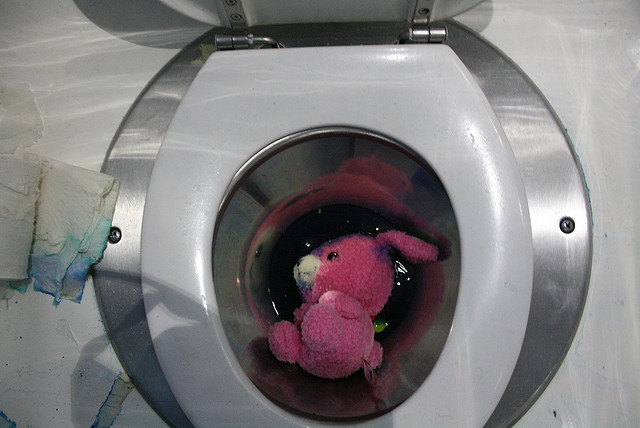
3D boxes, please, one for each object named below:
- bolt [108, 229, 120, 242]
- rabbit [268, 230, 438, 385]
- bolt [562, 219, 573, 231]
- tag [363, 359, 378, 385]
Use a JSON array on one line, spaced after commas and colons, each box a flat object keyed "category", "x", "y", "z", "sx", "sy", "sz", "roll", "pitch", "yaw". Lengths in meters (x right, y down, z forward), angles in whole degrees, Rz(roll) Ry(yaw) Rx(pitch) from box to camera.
[{"category": "bolt", "x": -0.449, "y": 0.048, "z": 1.189, "sx": 0.022, "sy": 0.006, "sz": 0.027, "roll": 15, "pitch": 84, "yaw": 5}, {"category": "rabbit", "x": 0.047, "y": 0.179, "z": 1.158, "sx": 0.291, "sy": 0.128, "sz": 0.332, "roll": -1, "pitch": 59, "yaw": 18}, {"category": "bolt", "x": 0.553, "y": 0.025, "z": 1.207, "sx": 0.025, "sy": 0.002, "sz": 0.025, "roll": 41, "pitch": 86, "yaw": 7}, {"category": "tag", "x": 0.106, "y": 0.328, "z": 1.116, "sx": 0.018, "sy": 0.011, "sz": 0.043, "roll": -18, "pitch": 69, "yaw": -15}]
